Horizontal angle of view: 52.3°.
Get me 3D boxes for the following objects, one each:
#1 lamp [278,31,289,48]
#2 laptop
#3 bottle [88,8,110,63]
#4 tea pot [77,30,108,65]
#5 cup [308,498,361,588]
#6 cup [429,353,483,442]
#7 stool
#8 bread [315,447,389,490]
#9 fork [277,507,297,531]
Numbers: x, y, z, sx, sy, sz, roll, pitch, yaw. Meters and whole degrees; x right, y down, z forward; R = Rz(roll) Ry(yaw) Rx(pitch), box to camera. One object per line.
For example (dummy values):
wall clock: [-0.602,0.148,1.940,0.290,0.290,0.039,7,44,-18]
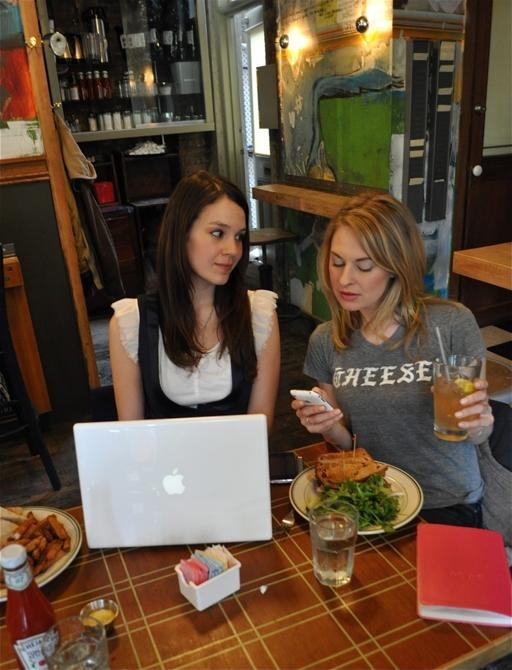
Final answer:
lamp: [0.209,-2.199,3.894,0.034,0.100,0.132,-14,24,-15]
laptop: [-0.138,0.248,1.013,0.359,0.221,0.244,-2,10,0]
bottle: [-1.411,-2.679,4.670,0.235,0.420,0.113,-23,29,-33]
tea pot: [-1.432,-2.561,4.642,0.249,0.230,0.219,-9,18,-29]
cup: [0.124,0.339,0.830,0.076,0.091,0.073,-1,1,0]
cup: [0.372,0.125,1.015,0.110,0.154,0.107,4,-5,0]
stool: [0.094,-0.526,4.824,0.749,0.687,0.718,6,14,43]
bread: [0.185,0.267,1.069,0.111,0.044,0.077,-5,10,-6]
fork: [0.060,0.356,1.004,0.026,0.016,0.121,-1,7,12]
